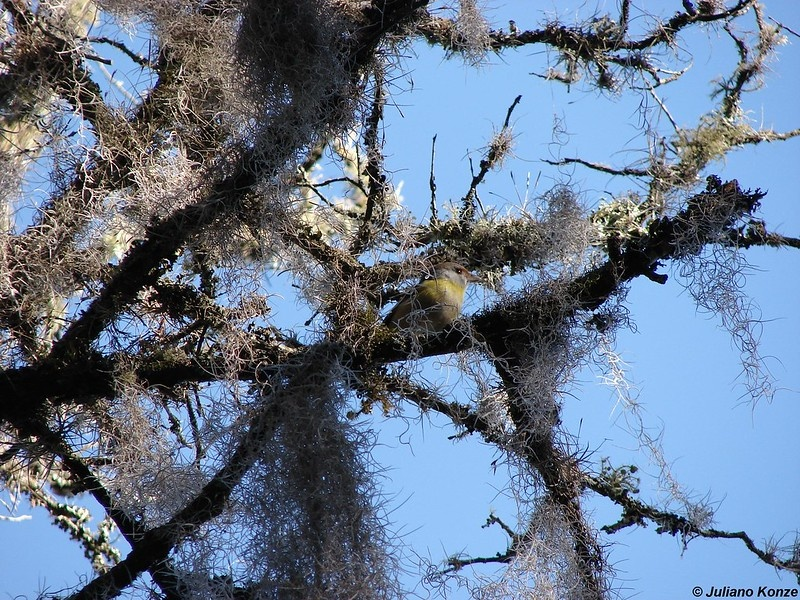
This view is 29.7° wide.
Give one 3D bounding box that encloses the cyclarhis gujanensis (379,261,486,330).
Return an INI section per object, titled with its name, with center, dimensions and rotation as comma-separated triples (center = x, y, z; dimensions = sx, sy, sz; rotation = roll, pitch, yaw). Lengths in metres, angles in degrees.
[cyclarhis gujanensis]
center = 0.106, 0.024, 6.588
dimensions = 0.417, 0.399, 0.234
rotation = 4, -24, 0
